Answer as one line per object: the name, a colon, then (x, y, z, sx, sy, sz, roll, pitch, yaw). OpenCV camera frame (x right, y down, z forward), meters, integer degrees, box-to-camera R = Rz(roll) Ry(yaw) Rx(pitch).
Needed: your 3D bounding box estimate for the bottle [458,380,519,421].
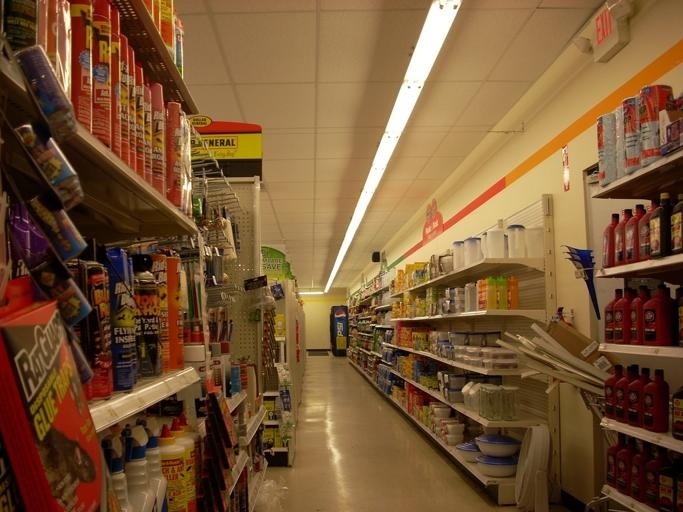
bottle: (1.304, 1.274, 4.593, 0.299, 0.282, 0.580, 1, -7, -19)

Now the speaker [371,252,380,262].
speaker: (0.986, 0.028, 14.864, 0.202, 0.430, 0.420, -1, -2, -6)
